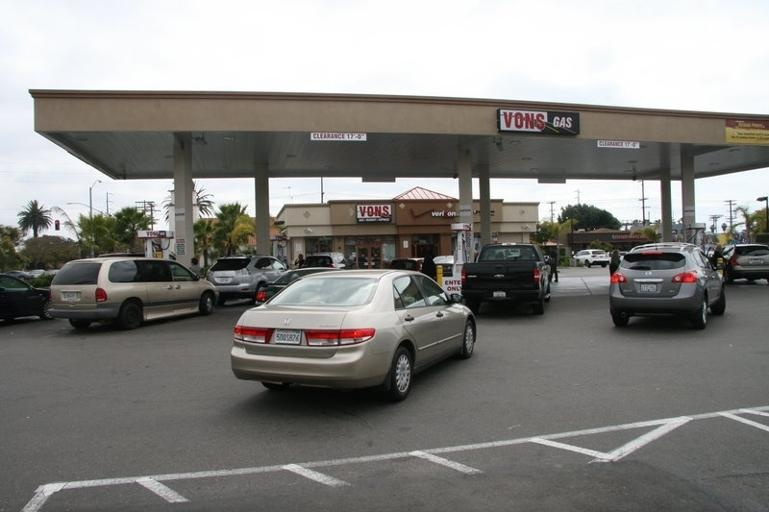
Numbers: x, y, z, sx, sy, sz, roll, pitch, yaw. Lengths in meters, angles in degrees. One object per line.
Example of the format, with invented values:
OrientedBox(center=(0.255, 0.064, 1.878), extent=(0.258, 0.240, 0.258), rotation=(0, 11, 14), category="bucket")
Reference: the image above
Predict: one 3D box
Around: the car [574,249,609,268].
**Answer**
OrientedBox(center=(19.529, 0.180, 55.894), extent=(1.412, 1.045, 3.129), rotation=(-2, 6, -15), category="car")

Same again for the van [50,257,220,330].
OrientedBox(center=(-6.984, 0.926, 16.972), extent=(1.921, 1.512, 4.134), rotation=(1, 3, 29), category="van")

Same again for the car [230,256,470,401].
OrientedBox(center=(-0.354, 1.266, 9.797), extent=(3.956, 1.974, 1.794), rotation=(-8, 10, -43), category="car")

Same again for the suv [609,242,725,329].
OrientedBox(center=(7.196, 0.624, 14.889), extent=(1.635, 1.285, 3.193), rotation=(0, 4, 28), category="suv")

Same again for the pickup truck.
OrientedBox(center=(3.640, 0.752, 17.700), extent=(2.393, 2.046, 2.463), rotation=(0, 8, 11), category="pickup truck")
